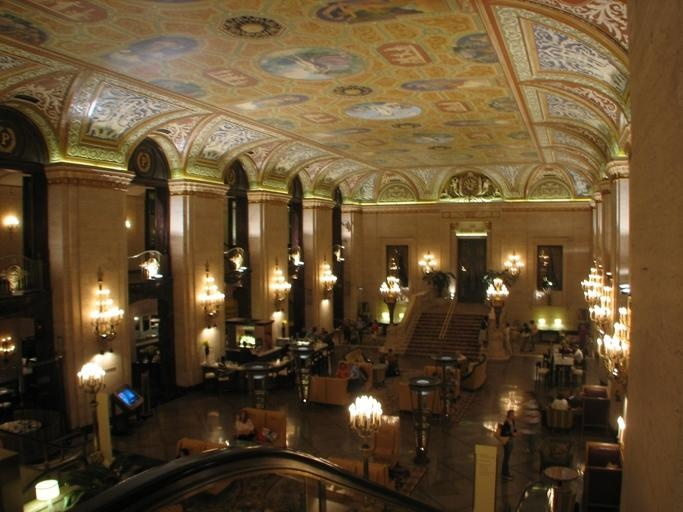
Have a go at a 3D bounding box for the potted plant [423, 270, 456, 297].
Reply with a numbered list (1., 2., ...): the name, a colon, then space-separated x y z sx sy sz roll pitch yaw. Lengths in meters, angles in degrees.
1. potted plant: 4.442 1.281 24.755 1.281 1.097 1.238 0 -5 -44

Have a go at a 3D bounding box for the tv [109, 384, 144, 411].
1. tv: -4.853 3.164 12.306 0.625 0.362 0.676 44 2 13
